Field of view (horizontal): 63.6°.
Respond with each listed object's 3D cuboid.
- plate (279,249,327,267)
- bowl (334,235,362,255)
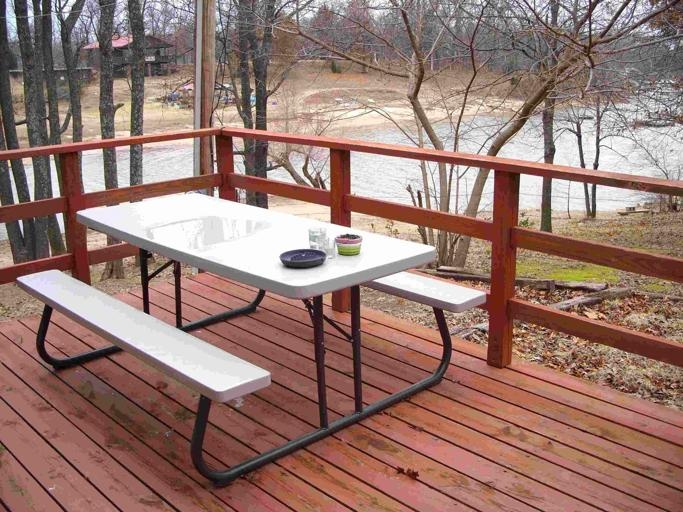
[{"bbox_3d":[-0.180,0.008,2.501,0.202,0.043,0.170,0,17,0],"label":"plate"},{"bbox_3d":[0.024,-0.057,2.612,0.117,0.083,0.126,0,19,0],"label":"bowl"}]
